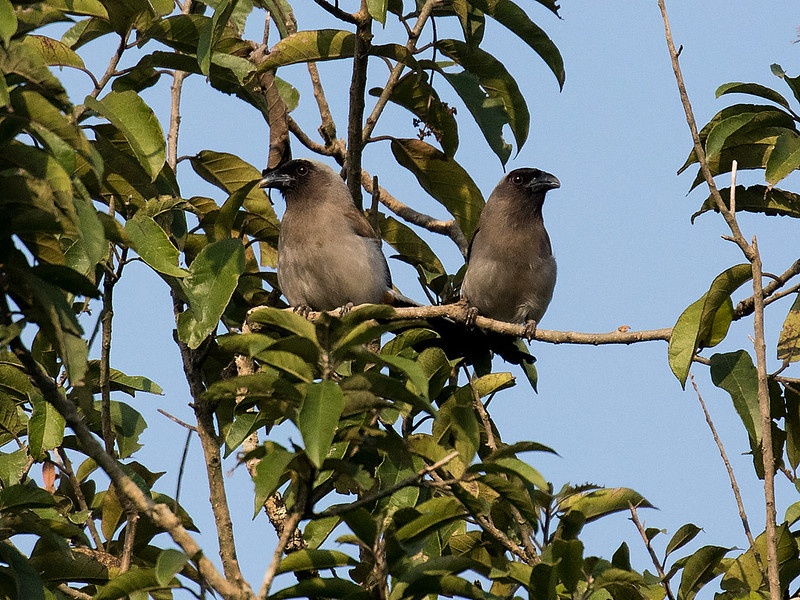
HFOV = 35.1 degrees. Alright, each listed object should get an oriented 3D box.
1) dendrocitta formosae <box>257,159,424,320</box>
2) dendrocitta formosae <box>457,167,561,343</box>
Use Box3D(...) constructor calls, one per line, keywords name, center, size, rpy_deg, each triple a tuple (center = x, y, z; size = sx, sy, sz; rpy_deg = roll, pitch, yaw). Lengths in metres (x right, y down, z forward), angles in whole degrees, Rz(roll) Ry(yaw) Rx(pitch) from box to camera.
Box3D(name="dendrocitta formosae", center=(-0.278, -0.435, 8.103), size=(1.177, 1.065, 0.696), rpy_deg=(7, -36, -1))
Box3D(name="dendrocitta formosae", center=(0.772, -0.316, 8.939), size=(0.648, 1.159, 0.701), rpy_deg=(3, -48, 4))
